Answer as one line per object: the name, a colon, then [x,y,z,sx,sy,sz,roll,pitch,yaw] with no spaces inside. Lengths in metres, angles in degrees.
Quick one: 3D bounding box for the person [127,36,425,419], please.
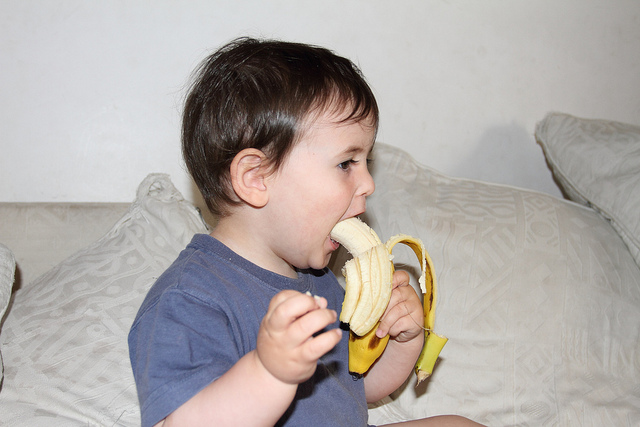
person: [-0.160,-0.013,1.347,0.581,0.909,0.500,2,7,5]
